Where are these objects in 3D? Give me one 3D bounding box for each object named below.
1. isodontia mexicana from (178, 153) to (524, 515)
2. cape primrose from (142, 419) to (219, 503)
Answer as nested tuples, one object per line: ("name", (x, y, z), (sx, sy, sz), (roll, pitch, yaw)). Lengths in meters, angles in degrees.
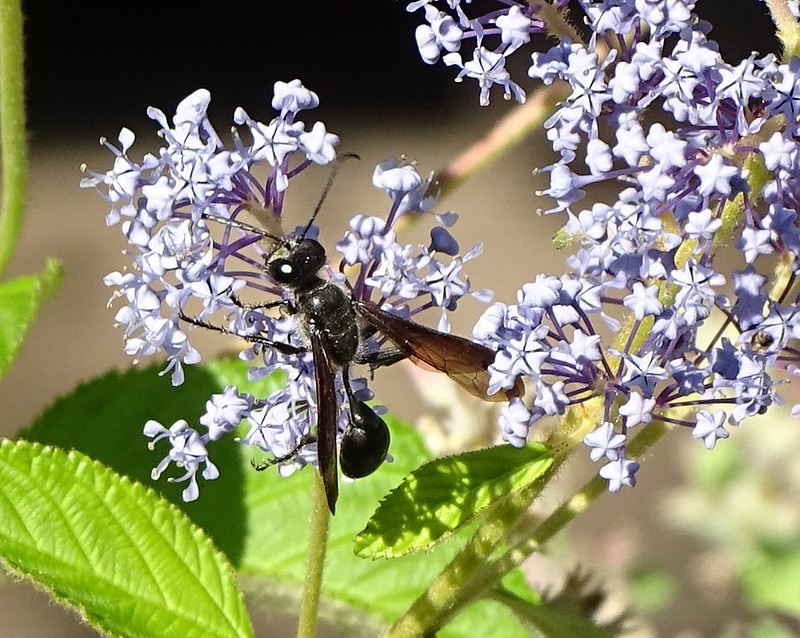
("isodontia mexicana", (-0.111, 0.045, 2.840), (0.594, 0.549, 1.146), (-10, -80, -48))
("cape primrose", (-0.610, 0.402, 3.126), (0.165, 0.175, 0.338), (-3, -83, -28))
